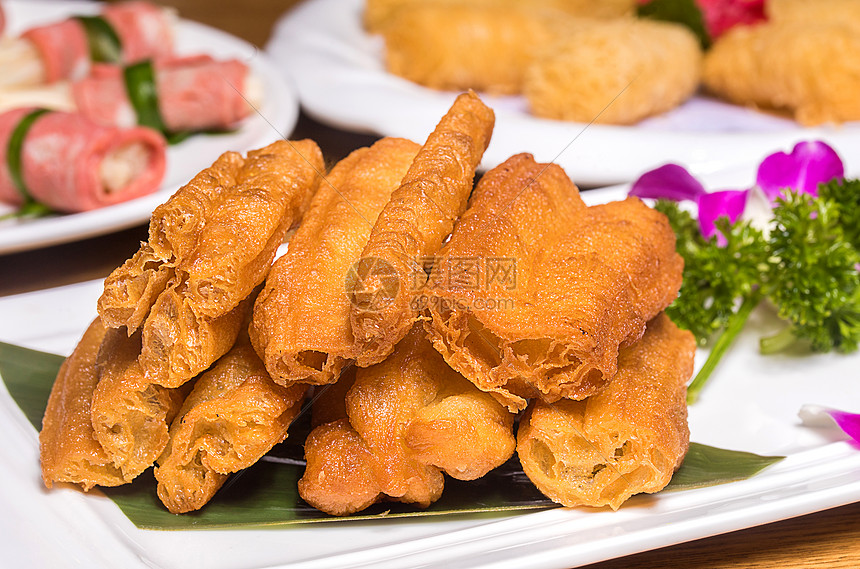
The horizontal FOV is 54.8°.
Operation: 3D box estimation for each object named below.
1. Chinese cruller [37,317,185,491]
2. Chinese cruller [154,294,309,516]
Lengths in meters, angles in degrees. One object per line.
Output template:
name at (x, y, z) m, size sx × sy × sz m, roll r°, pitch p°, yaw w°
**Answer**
Chinese cruller at (-0.605, 0.207, 1.514) m, size 0.241 × 0.143 × 0.343 m, roll -29°, pitch 38°, yaw 21°
Chinese cruller at (-0.337, 0.230, 1.456) m, size 0.180 × 0.120 × 0.320 m, roll 29°, pitch 71°, yaw 3°
